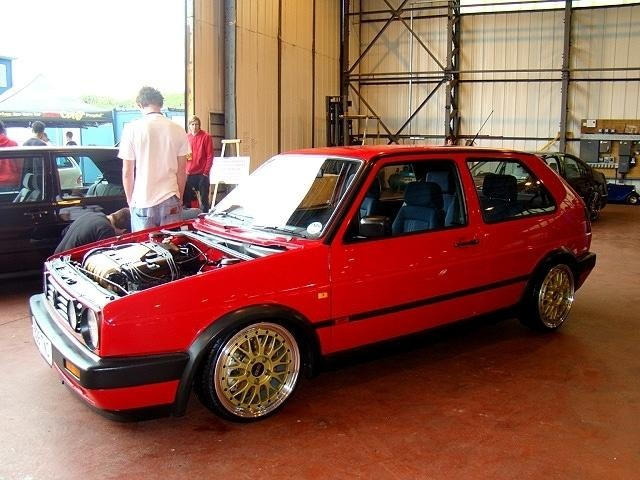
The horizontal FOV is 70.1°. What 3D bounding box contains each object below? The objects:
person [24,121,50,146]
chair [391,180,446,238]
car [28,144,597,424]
[{"bbox_3d":[-5.008,-1.883,8.034,0.398,0.391,0.744,-7,14,-31],"label":"person"},{"bbox_3d":[0.830,-0.289,3.802,0.484,0.578,0.389,-9,14,-41],"label":"chair"},{"bbox_3d":[0.249,0.202,3.891,4.210,1.584,1.952,-5,10,-31],"label":"car"}]
